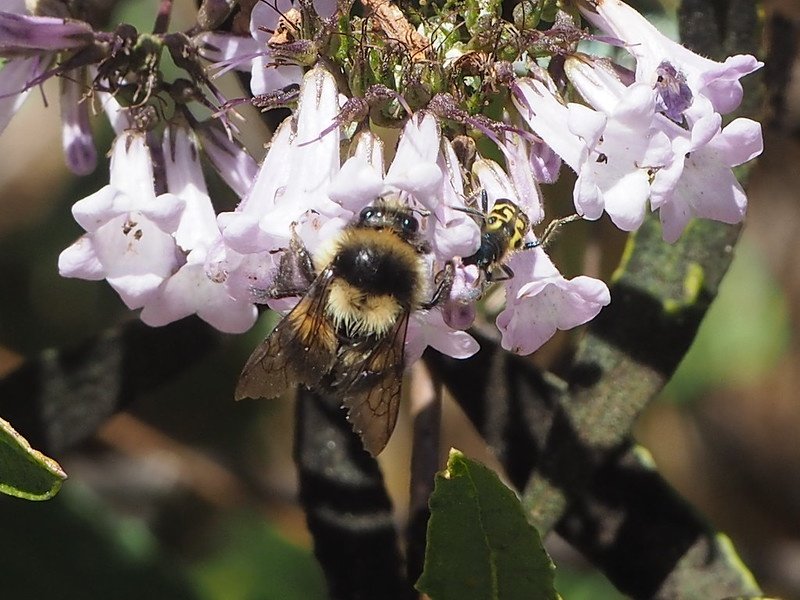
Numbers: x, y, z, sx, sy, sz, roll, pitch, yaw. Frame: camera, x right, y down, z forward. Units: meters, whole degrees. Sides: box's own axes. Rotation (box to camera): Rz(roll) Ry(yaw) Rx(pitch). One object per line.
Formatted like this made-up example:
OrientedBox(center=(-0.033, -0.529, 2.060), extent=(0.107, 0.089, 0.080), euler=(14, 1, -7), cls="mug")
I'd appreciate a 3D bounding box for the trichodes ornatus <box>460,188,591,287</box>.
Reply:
OrientedBox(center=(0.178, -0.113, 1.735), extent=(0.170, 0.063, 0.204), euler=(12, -14, 10), cls="trichodes ornatus")
